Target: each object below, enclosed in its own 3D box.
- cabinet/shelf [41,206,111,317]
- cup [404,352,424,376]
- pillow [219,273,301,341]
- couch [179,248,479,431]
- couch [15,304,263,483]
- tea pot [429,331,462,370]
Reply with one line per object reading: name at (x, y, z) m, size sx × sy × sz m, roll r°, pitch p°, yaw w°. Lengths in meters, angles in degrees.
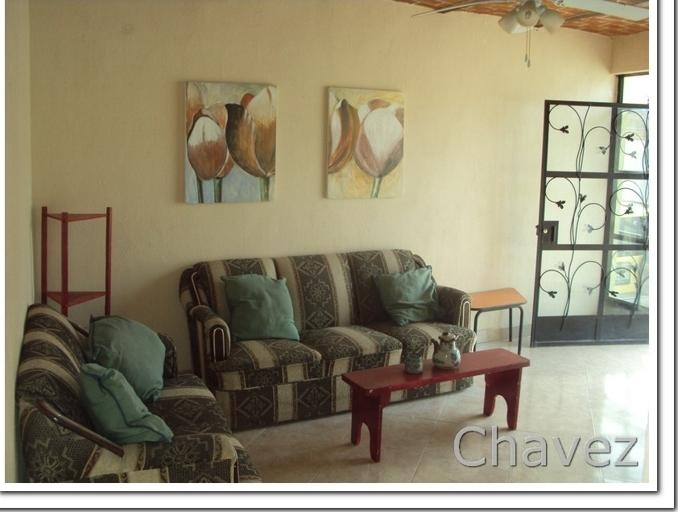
cabinet/shelf at (-1.704, 0.048, 3.712) m, size 0.475 × 0.733 × 0.368 m, roll -5°, pitch 14°, yaw -23°
cup at (0.453, 0.652, 3.455) m, size 0.121 × 0.120 × 0.123 m, roll 0°, pitch -5°, yaw 0°
pillow at (-0.561, 0.360, 3.857) m, size 0.393 × 0.442 × 0.221 m, roll -3°, pitch -15°, yaw -37°
couch at (-0.029, 0.535, 4.149) m, size 1.967 × 1.017 × 0.886 m, roll -4°, pitch 8°, yaw -27°
couch at (-1.217, 0.801, 3.105) m, size 0.836 × 0.761 × 1.492 m, roll -7°, pitch 13°, yaw -28°
tea pot at (0.662, 0.595, 3.593) m, size 0.228 × 0.224 × 0.164 m, roll 0°, pitch -2°, yaw 19°
